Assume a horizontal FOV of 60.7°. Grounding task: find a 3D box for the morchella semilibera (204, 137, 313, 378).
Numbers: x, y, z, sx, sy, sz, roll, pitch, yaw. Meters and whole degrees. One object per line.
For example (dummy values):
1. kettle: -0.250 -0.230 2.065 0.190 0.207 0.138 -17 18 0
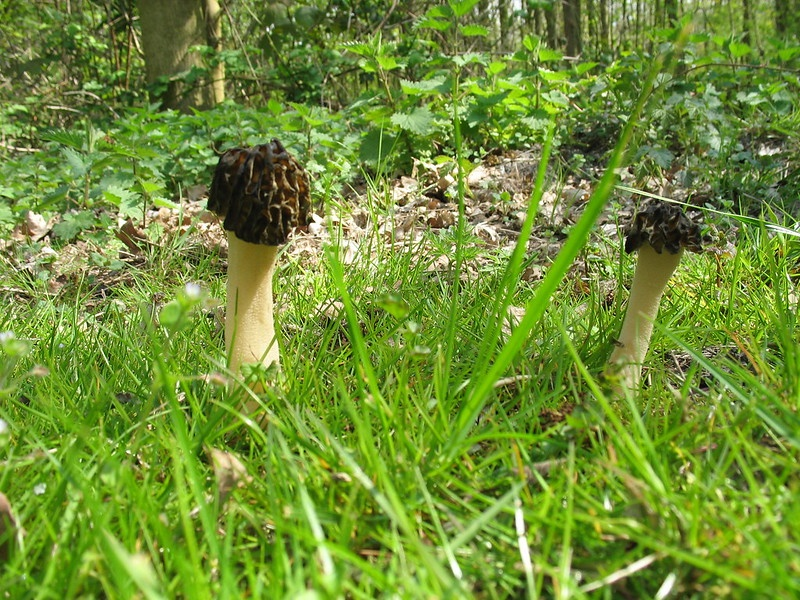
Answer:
1. morchella semilibera: -0.495 -0.147 2.486 0.389 0.843 0.479 -2 13 -16
